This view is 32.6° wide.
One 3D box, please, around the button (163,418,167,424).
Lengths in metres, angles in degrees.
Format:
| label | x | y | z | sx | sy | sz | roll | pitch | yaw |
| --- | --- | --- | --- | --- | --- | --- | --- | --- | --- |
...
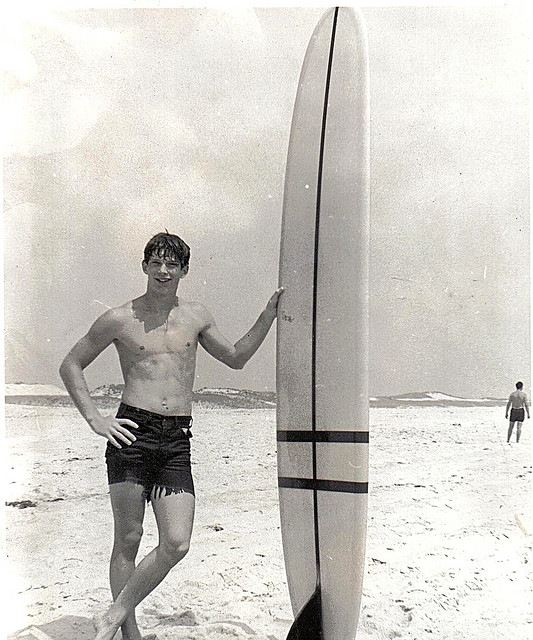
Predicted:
| label | x | y | z | sx | sy | sz | roll | pitch | yaw |
| --- | --- | --- | --- | --- | --- | --- | --- | --- | --- |
| button | -0.342 | 0.334 | 3.056 | 0.011 | 0.017 | 0.005 | -1 | -2 | -22 |
